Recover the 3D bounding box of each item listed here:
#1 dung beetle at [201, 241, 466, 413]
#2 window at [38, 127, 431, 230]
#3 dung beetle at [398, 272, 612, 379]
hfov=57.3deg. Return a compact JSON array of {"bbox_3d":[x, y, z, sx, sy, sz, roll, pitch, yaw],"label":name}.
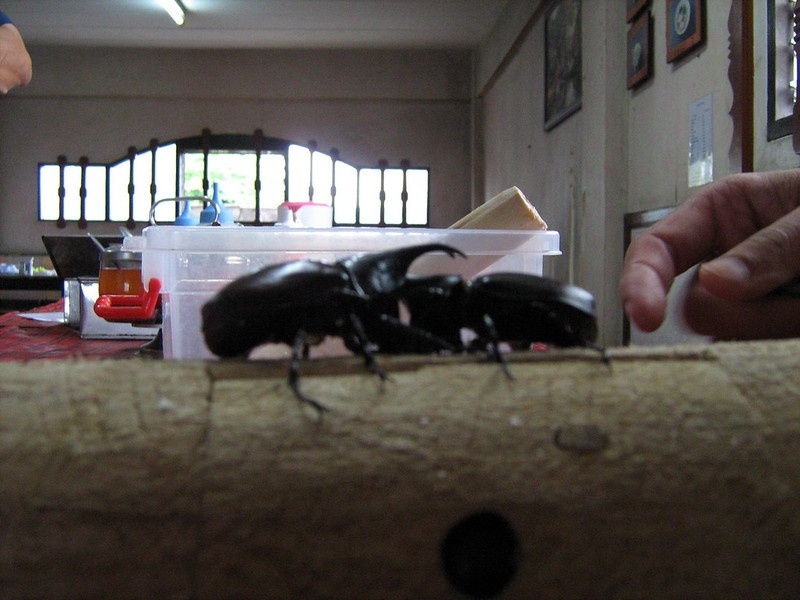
[{"bbox_3d":[-0.051,0.022,0.487,0.134,0.050,0.108,-2,-15,-36],"label":"dung beetle"},{"bbox_3d":[-0.994,-0.728,4.449,2.355,0.576,0.304,-1,1,1],"label":"window"},{"bbox_3d":[0.072,0.012,0.518,0.101,0.078,0.040,0,43,9],"label":"dung beetle"}]
